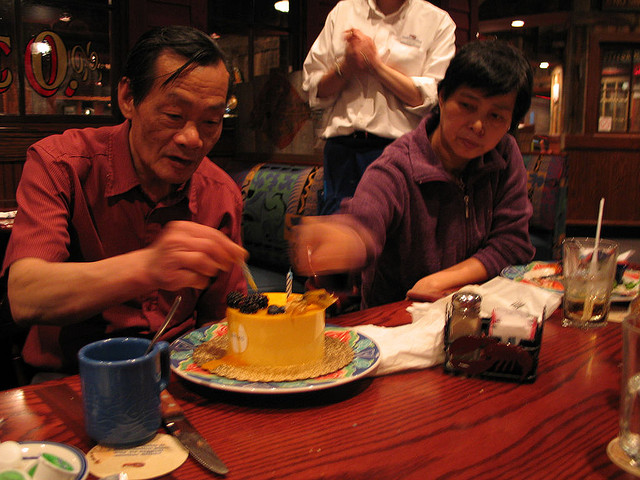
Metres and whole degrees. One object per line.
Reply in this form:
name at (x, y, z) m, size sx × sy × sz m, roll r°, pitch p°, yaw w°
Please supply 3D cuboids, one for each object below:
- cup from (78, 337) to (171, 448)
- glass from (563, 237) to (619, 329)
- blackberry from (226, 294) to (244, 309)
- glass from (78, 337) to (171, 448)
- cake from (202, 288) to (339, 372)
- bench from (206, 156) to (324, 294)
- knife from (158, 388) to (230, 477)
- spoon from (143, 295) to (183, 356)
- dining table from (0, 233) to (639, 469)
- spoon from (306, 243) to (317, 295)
cup at (-0.401, 0.313, 1.066) m, size 0.192 × 0.197 × 0.142 m, roll -5°, pitch 14°, yaw -31°
glass at (0.871, 0.134, 1.660) m, size 0.155 × 0.259 × 0.235 m, roll 5°, pitch 9°, yaw 30°
blackberry at (-0.211, 0.154, 1.316) m, size 0.031 × 0.016 × 0.034 m, roll -6°, pitch 15°, yaw -22°
glass at (-0.402, 0.307, 1.075) m, size 0.198 × 0.189 × 0.137 m, roll -9°, pitch 15°, yaw -44°
cake at (-0.113, 0.198, 1.264) m, size 0.236 × 0.126 × 0.181 m, roll -1°, pitch 5°, yaw -19°
bench at (-0.518, -0.157, 3.790) m, size 0.655 × 0.941 × 1.276 m, roll 3°, pitch 5°, yaw -37°
knife at (-0.285, 0.342, 1.093) m, size 0.065 × 0.040 × 0.491 m, roll 25°, pitch 3°, yaw -28°
spoon at (-0.473, 0.246, 1.504) m, size 0.032 × 0.242 × 0.034 m, roll 40°, pitch 25°, yaw 25°
dining table at (0.124, 0.216, 1.332) m, size 1.672 × 0.330 × 0.897 m, roll -1°, pitch 8°, yaw -8°
spoon at (-0.033, 0.105, 1.721) m, size 0.047 × 0.155 × 0.105 m, roll -1°, pitch 10°, yaw -1°
